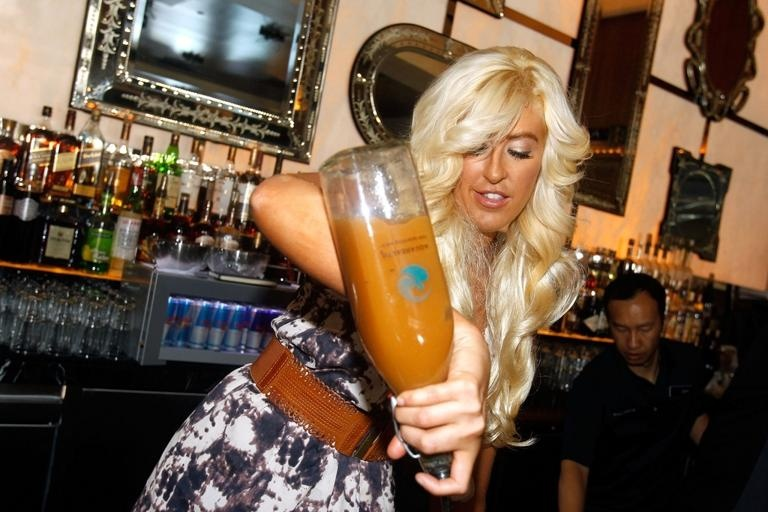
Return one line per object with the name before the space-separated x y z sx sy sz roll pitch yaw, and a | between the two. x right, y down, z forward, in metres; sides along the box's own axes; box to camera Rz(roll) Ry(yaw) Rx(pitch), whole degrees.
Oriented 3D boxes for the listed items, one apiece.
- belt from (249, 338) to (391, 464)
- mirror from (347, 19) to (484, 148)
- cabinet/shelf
belt | -0.132 0.412 1.680 0.368 0.121 0.376 41 -5 -35
mirror | 0.277 -1.173 3.989 1.128 0.915 0.014 8 33 -31
cabinet/shelf | -1.056 0.414 3.208 0.763 0.461 0.420 14 -12 -37
